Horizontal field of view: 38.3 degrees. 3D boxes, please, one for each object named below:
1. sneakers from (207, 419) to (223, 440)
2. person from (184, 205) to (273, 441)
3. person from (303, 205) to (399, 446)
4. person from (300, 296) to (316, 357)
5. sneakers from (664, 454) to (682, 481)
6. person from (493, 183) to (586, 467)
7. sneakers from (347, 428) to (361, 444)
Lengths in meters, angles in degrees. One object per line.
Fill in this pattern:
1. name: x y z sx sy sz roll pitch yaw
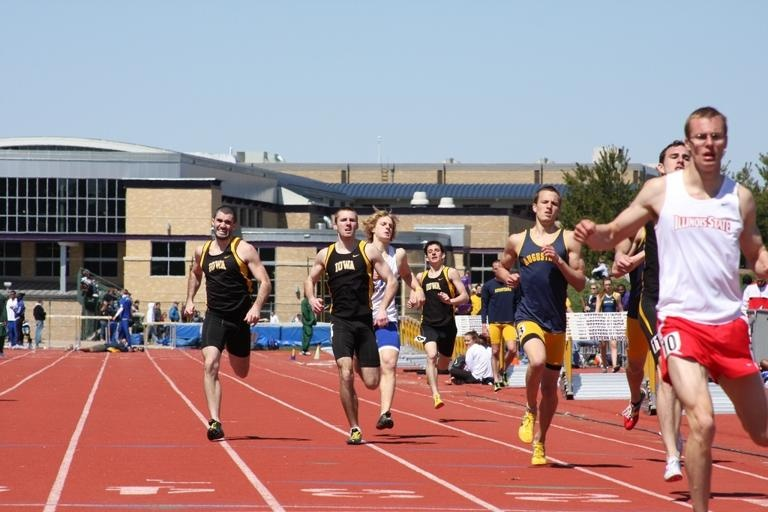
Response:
1. sneakers: -1.934 2.002 12.694 0.190 0.269 0.347 1 -1 -9
2. person: -1.864 0.772 13.224 0.956 2.783 1.342 1 -1 -10
3. person: -0.387 0.807 12.952 1.017 2.700 1.162 0 -1 -7
4. person: -1.985 1.826 30.440 0.561 1.680 0.561 0 -4 -5
5. sneakers: 2.537 1.871 9.693 0.110 0.128 0.301 0 5 7
6. person: 1.645 0.720 11.428 0.581 2.875 0.885 1 -1 -27
7. sneakers: -0.325 2.034 12.525 0.171 0.198 0.177 0 -1 -4
